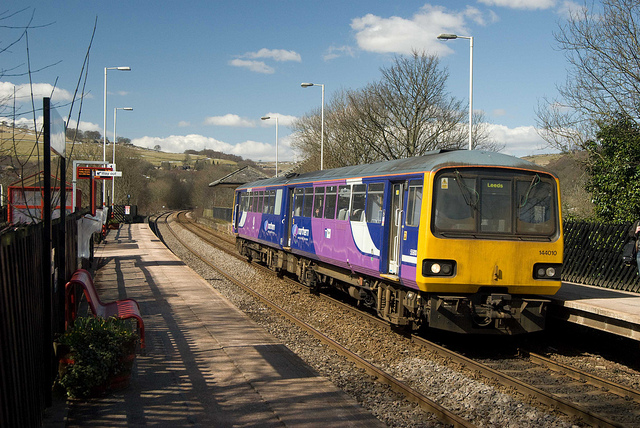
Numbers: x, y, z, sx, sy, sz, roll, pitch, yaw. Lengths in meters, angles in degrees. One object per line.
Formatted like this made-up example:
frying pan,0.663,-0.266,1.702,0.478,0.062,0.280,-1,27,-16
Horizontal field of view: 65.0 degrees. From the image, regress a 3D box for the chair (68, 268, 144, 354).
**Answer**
chair,-3.789,1.942,9.137,1.214,1.580,2.597,-2,3,-26
